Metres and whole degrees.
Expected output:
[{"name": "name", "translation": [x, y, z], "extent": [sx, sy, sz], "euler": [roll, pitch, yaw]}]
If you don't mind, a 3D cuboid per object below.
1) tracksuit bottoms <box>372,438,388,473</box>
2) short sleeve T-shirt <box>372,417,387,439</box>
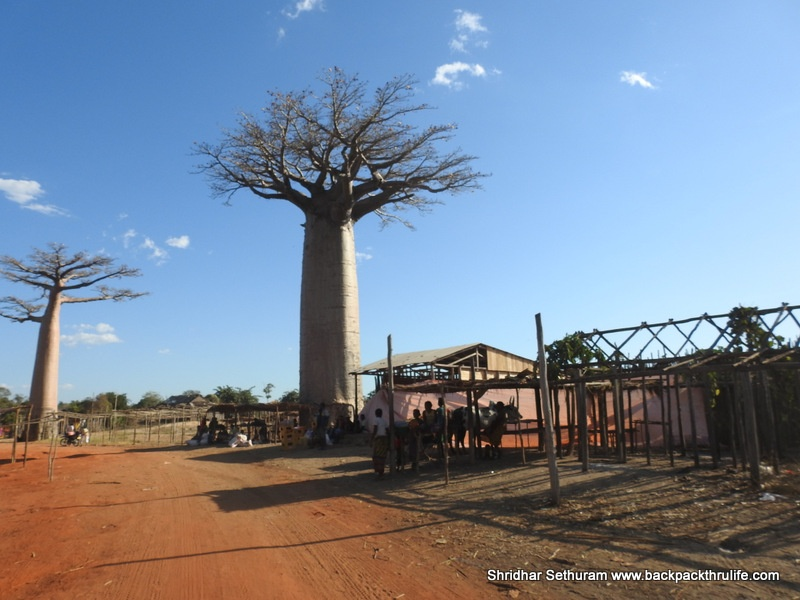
[{"name": "tracksuit bottoms", "translation": [-0.536, 3.961, 12.598], "extent": [0.475, 0.961, 0.335], "euler": [8, -17, -7]}, {"name": "short sleeve T-shirt", "translation": [-0.548, 3.316, 12.575], "extent": [0.333, 0.509, 0.262], "euler": [0, -15, -8]}]
